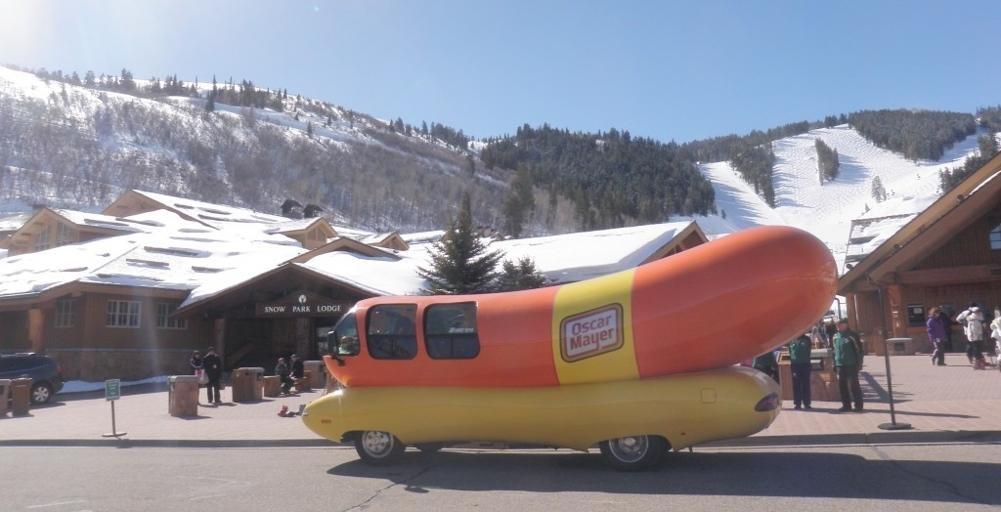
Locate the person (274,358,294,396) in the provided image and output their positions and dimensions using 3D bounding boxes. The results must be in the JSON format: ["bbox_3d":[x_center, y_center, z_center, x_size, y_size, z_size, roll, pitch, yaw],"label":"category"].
[{"bbox_3d":[-14.492,8.158,57.394,0.778,2.388,1.394,-7,-8,17],"label":"person"}]

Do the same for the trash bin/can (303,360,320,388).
[{"bbox_3d":[-12.897,8.248,58.950,1.342,1.899,0.790,-2,-8,-13],"label":"trash bin/can"}]

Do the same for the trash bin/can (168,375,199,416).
[{"bbox_3d":[-19.325,8.688,52.265,1.630,2.571,0.886,-2,-8,-15],"label":"trash bin/can"}]
